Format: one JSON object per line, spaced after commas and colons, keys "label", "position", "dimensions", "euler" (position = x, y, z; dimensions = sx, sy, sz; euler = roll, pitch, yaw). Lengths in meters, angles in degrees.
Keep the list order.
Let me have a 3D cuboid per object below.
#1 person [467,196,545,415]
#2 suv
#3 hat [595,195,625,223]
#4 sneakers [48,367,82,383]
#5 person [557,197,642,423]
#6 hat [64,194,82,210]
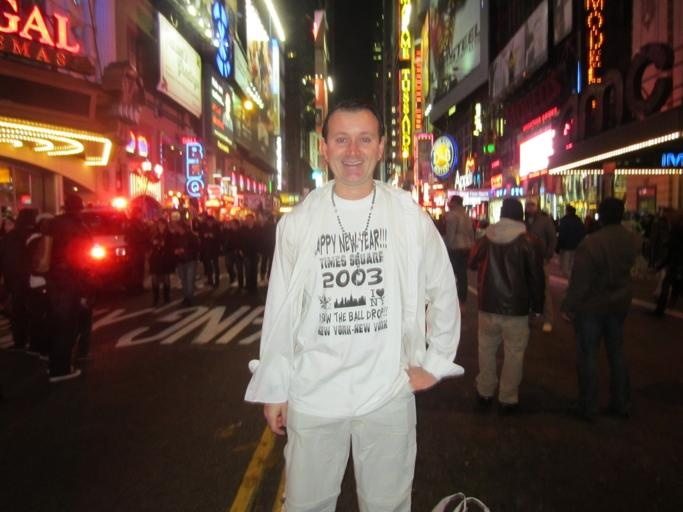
{"label": "person", "position": [2.303, 0.573, 7.423], "dimensions": [0.906, 3.075, 0.870], "euler": [12, 23, 39]}
{"label": "suv", "position": [-7.882, -0.698, 17.500], "dimensions": [1.793, 2.286, 3.827], "euler": [-4, 20, -23]}
{"label": "hat", "position": [3.388, -0.601, 6.768], "dimensions": [0.232, 0.439, 0.364], "euler": [1, 4, 21]}
{"label": "sneakers", "position": [-4.151, 1.779, 7.994], "dimensions": [0.442, 0.148, 0.278], "euler": [-7, 5, -33]}
{"label": "person", "position": [3.242, 0.663, 6.677], "dimensions": [0.926, 2.779, 0.415], "euler": [-3, 3, -15]}
{"label": "hat", "position": [-4.390, -0.878, 8.688], "dimensions": [0.216, 0.262, 0.271], "euler": [-1, 1, -36]}
